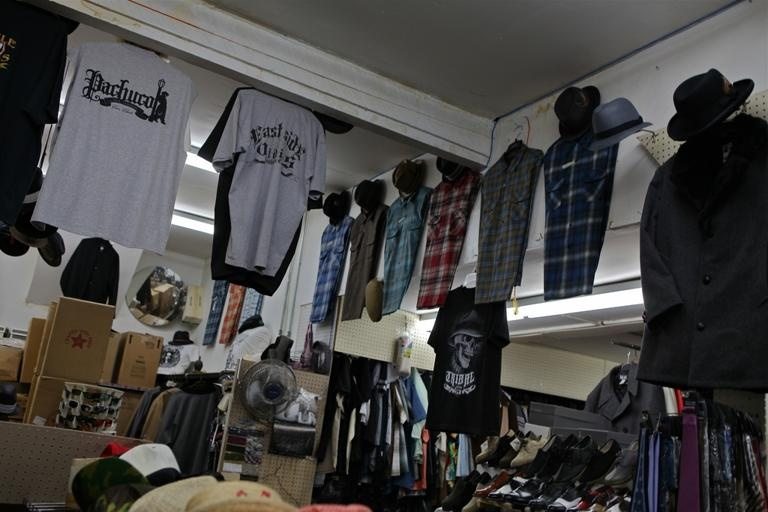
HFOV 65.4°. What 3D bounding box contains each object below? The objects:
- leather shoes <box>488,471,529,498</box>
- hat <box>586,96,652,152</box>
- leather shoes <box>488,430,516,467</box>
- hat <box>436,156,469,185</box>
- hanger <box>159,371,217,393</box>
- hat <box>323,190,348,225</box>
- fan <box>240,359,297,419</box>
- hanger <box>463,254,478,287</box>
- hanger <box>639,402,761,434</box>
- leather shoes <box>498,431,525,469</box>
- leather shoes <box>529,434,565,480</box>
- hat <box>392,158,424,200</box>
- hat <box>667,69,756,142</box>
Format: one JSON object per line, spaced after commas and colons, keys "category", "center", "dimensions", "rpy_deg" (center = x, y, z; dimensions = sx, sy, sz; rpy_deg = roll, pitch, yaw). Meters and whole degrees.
{"category": "leather shoes", "center": [1.055, 1.941, 5.004], "dimensions": [0.134, 0.117, 0.378], "rpy_deg": [-29, -15, 29]}
{"category": "hat", "center": [1.721, -1.002, 4.512], "dimensions": [0.399, 0.232, 0.380], "rpy_deg": [-30, 15, 17]}
{"category": "leather shoes", "center": [1.131, 1.885, 5.747], "dimensions": [0.179, 0.437, 0.158], "rpy_deg": [45, -47, -6]}
{"category": "hat", "center": [0.675, -0.883, 6.030], "dimensions": [0.170, 0.286, 0.228], "rpy_deg": [18, 7, -24]}
{"category": "hanger", "center": [-2.722, 1.786, 8.463], "dimensions": [0.637, 0.346, 1.700], "rpy_deg": [16, -18, -21]}
{"category": "hat", "center": [-0.595, -0.619, 7.584], "dimensions": [0.137, 0.402, 0.314], "rpy_deg": [-5, 22, -44]}
{"category": "fan", "center": [-1.181, 1.368, 5.939], "dimensions": [0.541, 0.598, 0.313], "rpy_deg": [1, 1, -4]}
{"category": "hanger", "center": [0.811, 0.145, 5.652], "dimensions": [0.126, 0.297, 0.555], "rpy_deg": [6, -17, 8]}
{"category": "hanger", "center": [2.183, 1.086, 3.989], "dimensions": [0.410, 0.161, 0.422], "rpy_deg": [-3, -3, 42]}
{"category": "leather shoes", "center": [1.199, 1.860, 5.649], "dimensions": [0.153, 0.387, 0.135], "rpy_deg": [30, -16, -8]}
{"category": "leather shoes", "center": [1.393, 1.776, 5.165], "dimensions": [0.167, 0.493, 0.178], "rpy_deg": [-4, -50, 54]}
{"category": "hat", "center": [0.291, -0.827, 6.495], "dimensions": [0.149, 0.406, 0.313], "rpy_deg": [1, 38, -44]}
{"category": "hat", "center": [2.115, -0.901, 3.884], "dimensions": [0.193, 0.461, 0.493], "rpy_deg": [42, -47, -19]}
